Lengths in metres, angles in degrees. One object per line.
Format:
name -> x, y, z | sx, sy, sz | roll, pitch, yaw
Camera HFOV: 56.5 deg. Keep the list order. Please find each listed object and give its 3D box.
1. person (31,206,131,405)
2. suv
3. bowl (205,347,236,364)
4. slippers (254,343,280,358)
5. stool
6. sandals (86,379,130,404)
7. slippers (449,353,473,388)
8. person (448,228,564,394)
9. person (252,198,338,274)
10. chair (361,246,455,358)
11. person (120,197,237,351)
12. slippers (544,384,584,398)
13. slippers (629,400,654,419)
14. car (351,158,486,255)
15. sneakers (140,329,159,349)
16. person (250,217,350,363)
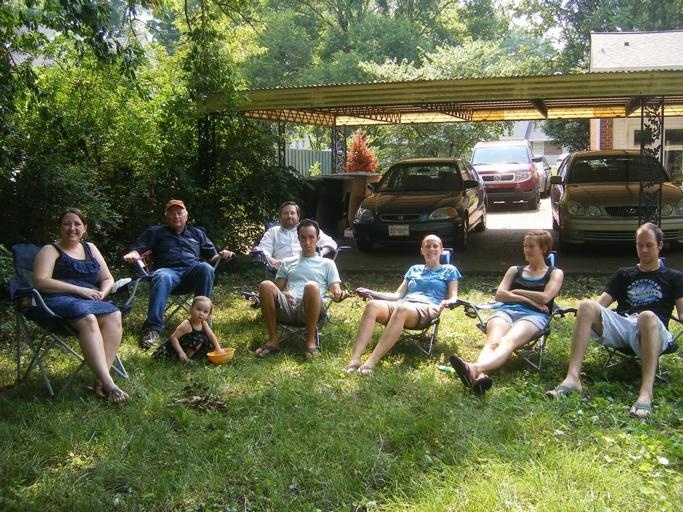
person -> -2.179, 0.346, 5.340 | 0.665, 1.418, 1.185 | -4, 11, -33
suv -> 4.695, -2.438, 17.976 | 1.446, 1.479, 3.196 | -1, 2, 16
bowl -> -1.117, 0.943, 5.974 | 0.284, 0.114, 0.234 | -2, 10, -26
slippers -> -0.717, 0.917, 6.140 | 0.135, 0.088, 0.269 | 7, 10, 28
stool -> -1.719, 0.107, 6.928 | 0.949, 1.006, 0.738 | 4, -26, -1
sandals -> -1.851, 1.096, 5.063 | 0.347, 0.100, 0.156 | 17, 42, 22
slippers -> 0.985, 0.938, 5.239 | 0.130, 0.343, 0.119 | -21, -3, -38
person -> 1.476, 0.406, 5.620 | 0.575, 1.149, 1.679 | 2, 9, 38
person -> -0.553, -0.200, 7.413 | 1.011, 0.822, 0.662 | -1, 6, -14
chair -> 0.840, 0.463, 6.352 | 0.762, 0.868, 0.776 | 14, 11, 32
person -> -1.789, 0.139, 6.858 | 1.041, 1.645, 0.980 | 4, -10, -26
slippers -> 1.789, 1.060, 5.071 | 0.289, 0.088, 0.120 | -2, 5, -10
slippers -> 2.283, 1.153, 4.798 | 0.139, 0.084, 0.270 | 9, 11, 36
car -> 1.521, -0.984, 11.568 | 1.277, 1.038, 2.617 | 0, 5, 20
sneakers -> -1.911, 0.843, 6.339 | 0.105, 0.145, 0.303 | 0, -7, -4
person -> -0.387, 0.295, 6.387 | 0.851, 1.397, 0.878 | 2, -5, -9
